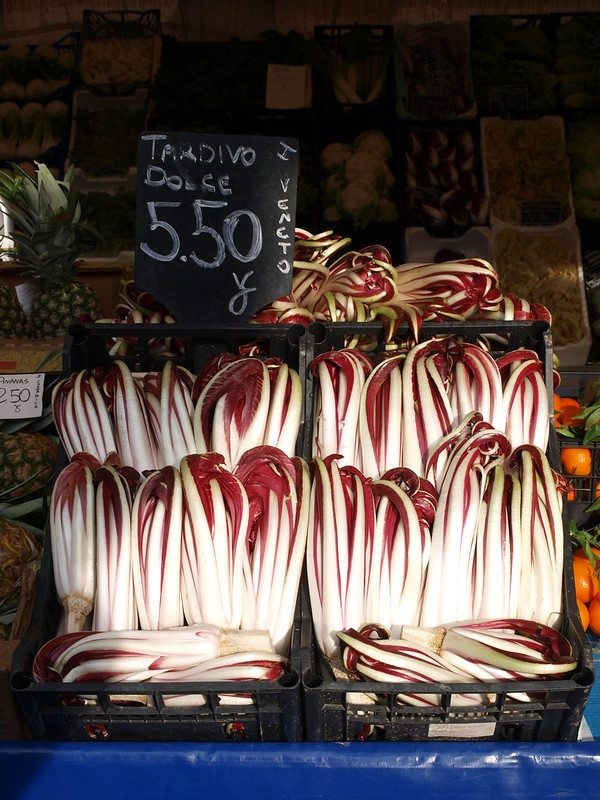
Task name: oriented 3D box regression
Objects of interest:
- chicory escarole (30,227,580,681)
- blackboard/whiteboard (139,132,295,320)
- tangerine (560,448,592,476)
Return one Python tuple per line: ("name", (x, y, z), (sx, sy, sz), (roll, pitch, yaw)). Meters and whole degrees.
("chicory escarole", (0.011, 0.154, 2.042), (0.977, 0.362, 0.963), (0, 54, 1))
("blackboard/whiteboard", (-0.241, -0.511, 2.297), (0.542, 0.609, 0.027), (2, 12, -6))
("tangerine", (0.971, 0.218, 2.812), (0.069, 0.066, 0.080), (4, 46, -5))
